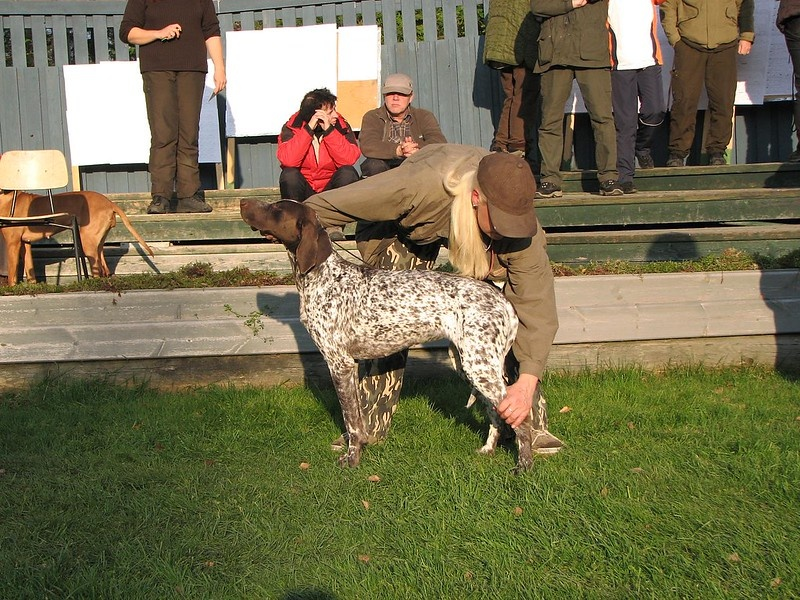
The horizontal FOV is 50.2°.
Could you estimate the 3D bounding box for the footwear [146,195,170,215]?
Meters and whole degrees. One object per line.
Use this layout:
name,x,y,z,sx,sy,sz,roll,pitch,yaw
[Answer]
footwear,-2.567,-1.000,9.018,0.122,0.150,0.274,2,1,4

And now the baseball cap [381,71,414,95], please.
baseball cap,-0.020,-2.152,8.516,0.278,0.205,0.219,-4,10,-5

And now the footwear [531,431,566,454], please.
footwear,1.023,0.996,6.009,0.282,0.145,0.103,1,10,5

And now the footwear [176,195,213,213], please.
footwear,-2.216,-1.030,9.187,0.439,0.233,0.180,-1,13,6

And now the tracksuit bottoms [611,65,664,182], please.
tracksuit bottoms,2.585,-2.078,9.193,0.585,1.521,0.556,2,18,-2

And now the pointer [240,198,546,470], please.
pointer,-0.088,0.336,5.649,2.179,1.810,1.109,1,11,8

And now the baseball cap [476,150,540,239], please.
baseball cap,0.691,-0.665,5.493,0.372,0.556,0.256,-2,10,5
